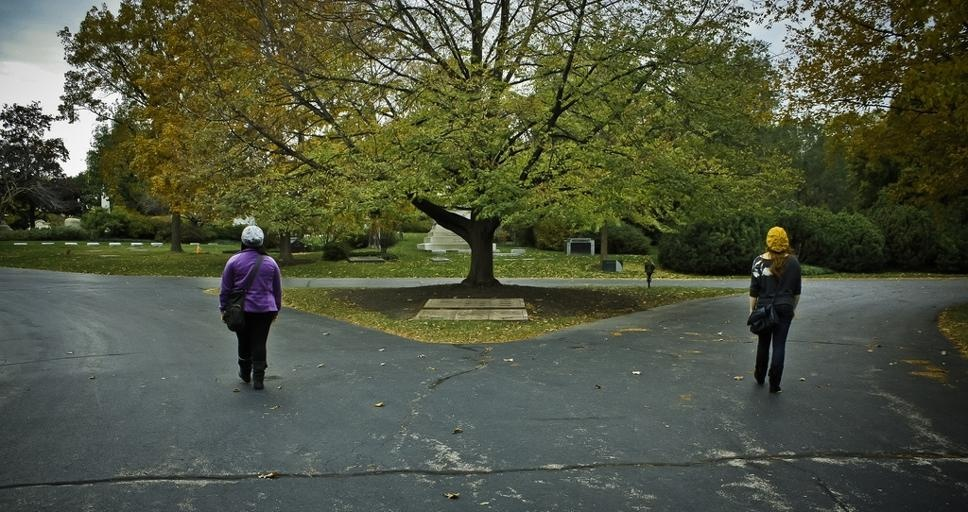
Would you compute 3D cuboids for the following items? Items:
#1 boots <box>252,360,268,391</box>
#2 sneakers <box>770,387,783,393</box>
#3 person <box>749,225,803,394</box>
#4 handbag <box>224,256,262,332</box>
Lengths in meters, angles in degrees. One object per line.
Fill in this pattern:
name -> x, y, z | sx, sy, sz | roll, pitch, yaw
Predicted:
boots -> -5.275, 2.767, 15.549 | 0.259, 0.642, 0.364 | 0, 4, -14
sneakers -> 6.814, 3.079, 15.370 | 0.286, 0.125, 0.142 | -1, 3, -21
person -> 6.854, 1.227, 15.645 | 1.062, 3.798, 0.973 | 2, 4, 20
handbag -> -5.624, 0.891, 15.489 | 0.893, 1.775, 0.351 | -1, 4, -20
